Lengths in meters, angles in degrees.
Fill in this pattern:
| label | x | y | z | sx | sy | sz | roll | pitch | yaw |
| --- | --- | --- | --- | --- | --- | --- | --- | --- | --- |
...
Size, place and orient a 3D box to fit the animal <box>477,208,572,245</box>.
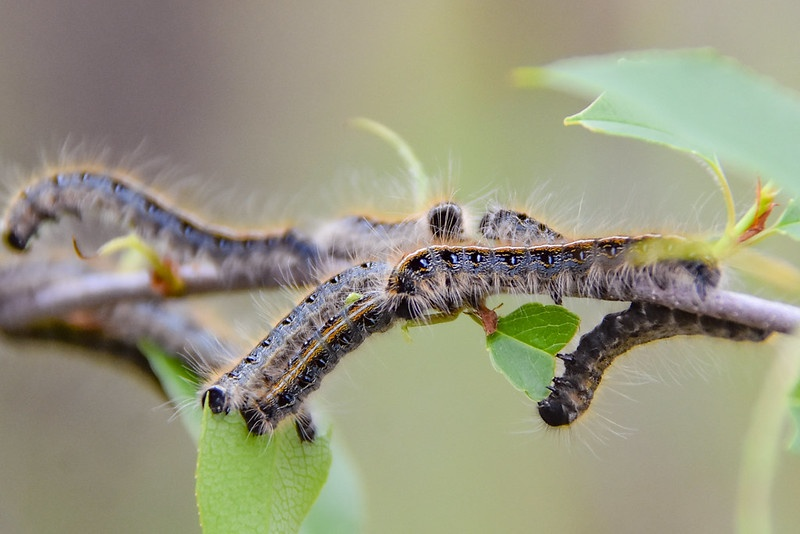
| label | x | y | z | sx | sy | sz | roll | pitch | yaw |
| --- | --- | --- | --- | --- | --- | --- | --- | --- | --- |
| animal | 0.375 | -0.112 | 2.560 | 0.202 | 0.081 | 0.126 | 12 | -5 | 5 |
